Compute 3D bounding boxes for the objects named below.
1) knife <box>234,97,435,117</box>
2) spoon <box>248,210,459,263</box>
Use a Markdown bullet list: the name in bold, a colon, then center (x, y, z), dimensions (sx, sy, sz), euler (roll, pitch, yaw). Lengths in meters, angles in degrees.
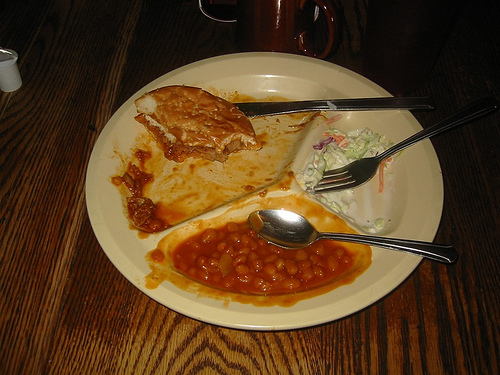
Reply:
- **knife**: center (0.497, -0.441, 2.439), dimensions (0.944, 0.120, 0.080), euler (2, -23, 15)
- **spoon**: center (0.442, 0.265, 2.112), dimensions (0.992, 0.143, 0.240), euler (8, 33, 23)
